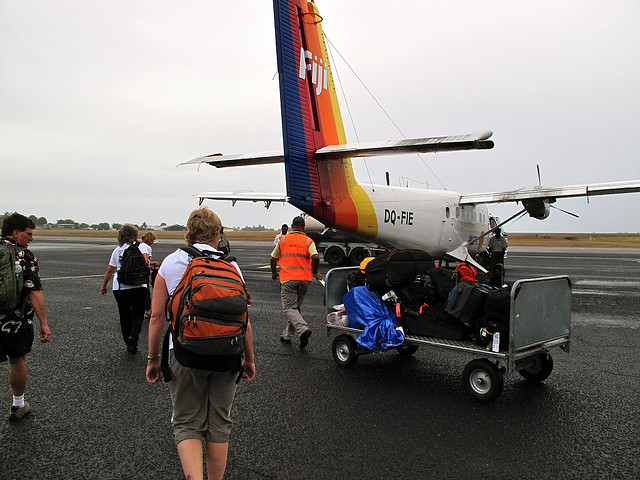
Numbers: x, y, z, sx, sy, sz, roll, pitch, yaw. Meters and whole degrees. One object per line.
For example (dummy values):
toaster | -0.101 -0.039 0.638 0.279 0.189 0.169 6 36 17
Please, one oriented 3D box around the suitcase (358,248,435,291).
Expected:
suitcase | 1.142 0.506 5.700 0.914 0.454 0.683 -2 -24 -31

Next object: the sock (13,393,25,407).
sock | -3.178 1.715 4.272 0.092 0.142 0.090 -3 5 -41

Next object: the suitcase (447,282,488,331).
suitcase | 1.831 0.868 4.984 0.357 0.630 0.398 13 -7 23

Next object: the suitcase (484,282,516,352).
suitcase | 2.056 0.912 4.699 0.293 0.758 0.406 1 4 22

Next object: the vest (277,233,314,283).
vest | -0.423 0.230 6.788 0.606 0.824 0.474 -1 13 -13

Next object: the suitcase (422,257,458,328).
suitcase | 1.645 0.615 5.466 0.361 0.937 0.729 -18 0 10

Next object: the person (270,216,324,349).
person | -0.418 0.674 6.804 0.741 2.143 1.083 -1 4 -14

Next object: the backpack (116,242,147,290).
backpack | -2.930 0.373 6.302 0.576 0.795 0.462 6 -11 -43

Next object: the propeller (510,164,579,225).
propeller | 5.949 -1.128 10.955 2.005 1.998 0.051 23 -33 -33
